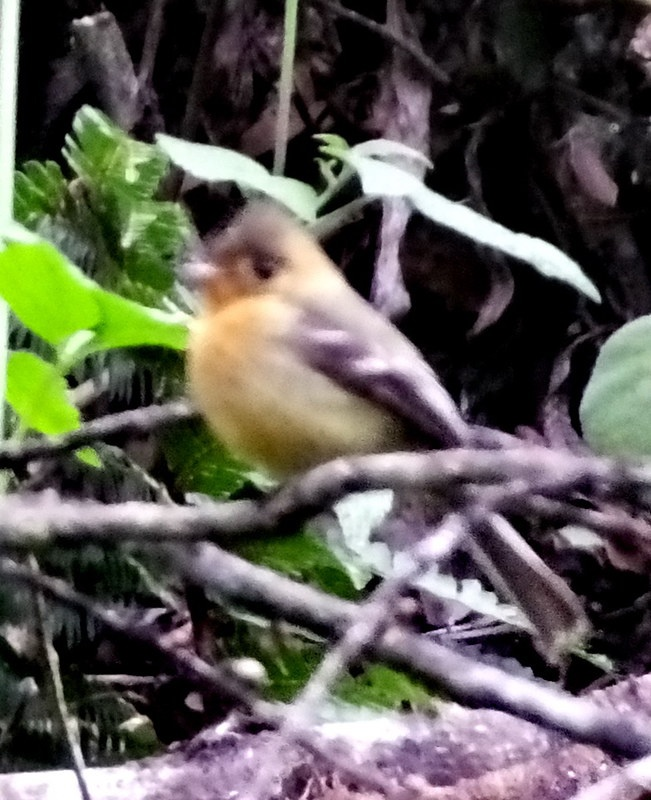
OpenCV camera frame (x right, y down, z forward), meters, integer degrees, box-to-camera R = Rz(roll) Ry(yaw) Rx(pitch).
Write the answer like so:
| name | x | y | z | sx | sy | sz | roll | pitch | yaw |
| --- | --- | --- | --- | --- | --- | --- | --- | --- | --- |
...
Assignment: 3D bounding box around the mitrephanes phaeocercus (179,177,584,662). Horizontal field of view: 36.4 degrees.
| name | x | y | z | sx | sy | sz | roll | pitch | yaw |
| --- | --- | --- | --- | --- | --- | --- | --- | --- | --- |
| mitrephanes phaeocercus | 0.025 | -0.004 | 0.346 | 0.160 | 0.082 | 0.077 | 15 | -10 | -30 |
